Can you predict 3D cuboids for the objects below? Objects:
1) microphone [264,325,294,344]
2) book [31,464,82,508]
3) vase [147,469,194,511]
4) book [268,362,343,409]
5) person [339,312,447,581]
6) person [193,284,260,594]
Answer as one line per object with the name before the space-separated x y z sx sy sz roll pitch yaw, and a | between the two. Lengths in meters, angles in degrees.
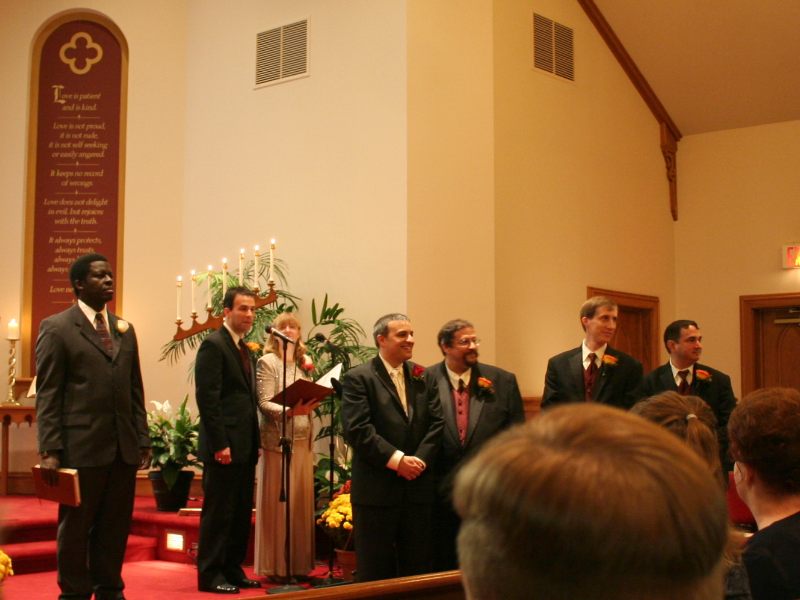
microphone | -0.785 0.228 4.742 0.077 0.084 0.279 18 5 -45
book | -1.622 0.885 3.434 0.216 0.246 0.054 7 8 21
vase | -1.837 1.523 5.821 0.306 0.271 0.329 0 -12 1
book | -0.561 0.550 4.401 0.225 0.148 0.380 -34 -30 19
person | -0.040 0.744 3.716 0.513 1.352 0.383 -1 -6 -6
person | -1.035 0.821 4.365 0.370 1.823 0.296 0 -6 -16
